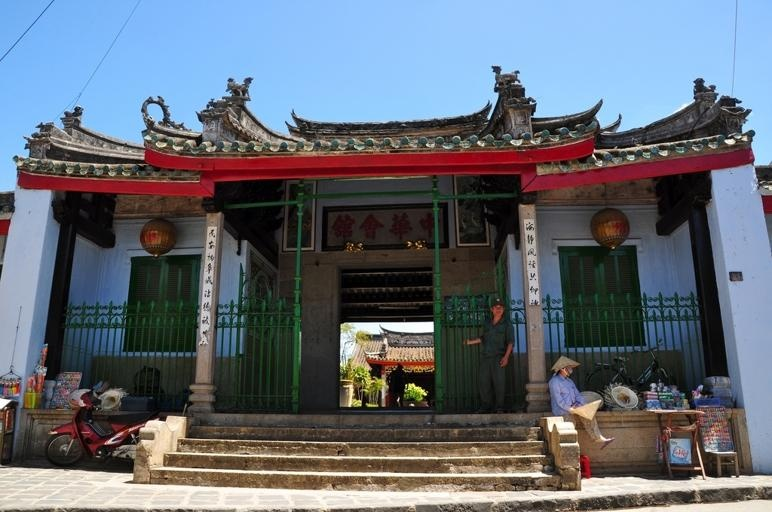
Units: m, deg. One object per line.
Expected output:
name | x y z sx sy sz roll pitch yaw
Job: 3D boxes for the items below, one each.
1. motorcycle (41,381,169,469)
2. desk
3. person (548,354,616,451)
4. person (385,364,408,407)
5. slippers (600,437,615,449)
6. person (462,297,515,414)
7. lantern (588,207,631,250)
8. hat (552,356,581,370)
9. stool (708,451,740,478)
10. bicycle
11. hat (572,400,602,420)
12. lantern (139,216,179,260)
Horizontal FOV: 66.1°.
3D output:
motorcycle | -4.357 2.729 9.455 1.861 1.173 0.991 -1 -19 -2
desk | 4.154 2.658 8.484 0.653 0.842 0.633 -1 -14 13
person | 2.698 2.086 8.549 0.700 1.237 0.278 -4 -13 16
person | 0.403 5.103 23.841 0.711 1.576 1.669 4 -13 -17
slippers | 3.113 2.665 8.480 0.252 0.101 0.079 -52 -20 24
person | 1.670 1.590 9.524 0.744 1.738 0.445 -6 -14 24
lantern | 3.968 -0.446 10.899 0.685 0.804 0.694 -16 -17 40
hat | 2.645 1.574 8.747 0.373 0.150 0.303 -5 -20 -10
stool | 4.707 2.897 8.314 0.423 0.330 0.169 -1 -13 2
bicycle | 4.060 1.899 9.783 1.660 0.989 0.728 -5 -23 0
hat | 2.804 2.173 8.433 0.385 0.260 0.247 1 -12 -4
lantern | -4.217 -0.351 11.139 0.696 0.804 0.686 -2 -7 13
